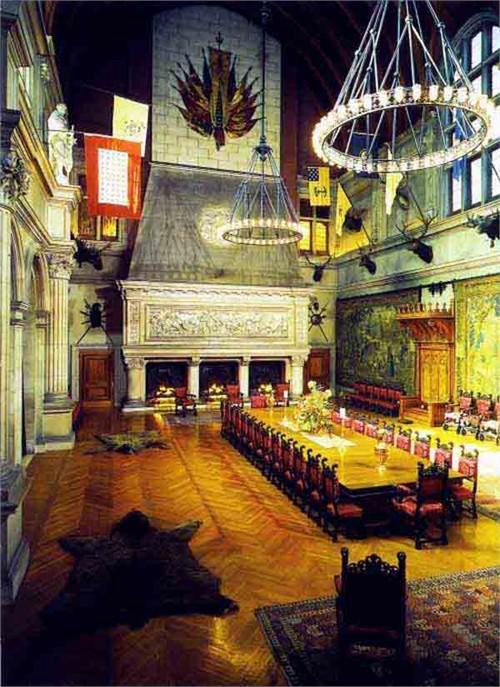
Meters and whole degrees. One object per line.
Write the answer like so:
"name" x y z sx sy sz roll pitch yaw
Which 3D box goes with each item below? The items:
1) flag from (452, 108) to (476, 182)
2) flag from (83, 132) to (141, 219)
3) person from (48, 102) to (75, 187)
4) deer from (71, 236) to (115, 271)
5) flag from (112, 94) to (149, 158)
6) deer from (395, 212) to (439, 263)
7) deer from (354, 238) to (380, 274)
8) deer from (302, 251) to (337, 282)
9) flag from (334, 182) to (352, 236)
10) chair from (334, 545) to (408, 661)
"flag" 3.873 -3.895 9.984 0.299 1.657 0.157 -15 21 -2
"flag" -2.179 -2.659 8.649 0.496 1.184 1.147 2 4 44
"person" -3.158 -3.477 9.085 0.439 1.517 1.661 -2 3 -19
"deer" -4.407 -2.489 15.003 0.843 0.877 1.364 -1 3 -2
"flag" -2.294 -4.185 10.455 0.768 1.122 0.031 4 -11 -19
"deer" 4.226 -2.668 13.674 0.718 1.660 1.268 5 -10 -14
"deer" 3.526 -2.613 16.418 0.448 1.148 1.127 0 3 4
"deer" 2.317 -2.561 18.520 0.702 0.923 1.009 1 4 37
"flag" 2.851 -4.148 16.622 0.196 1.043 2.218 -18 11 14
"chair" 0.819 1.837 3.736 0.445 0.865 0.326 0 3 10
